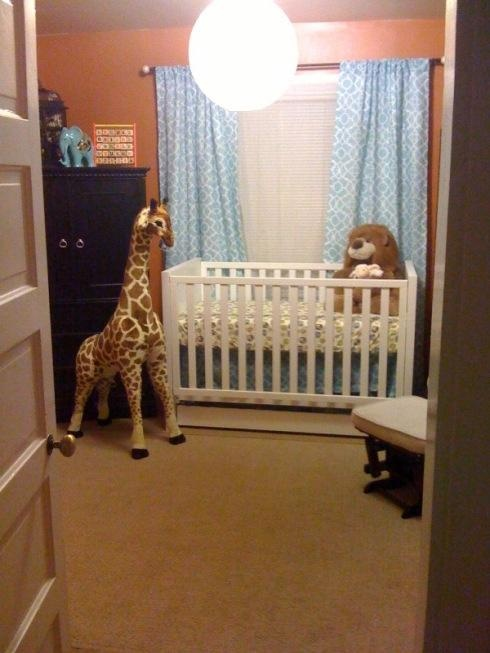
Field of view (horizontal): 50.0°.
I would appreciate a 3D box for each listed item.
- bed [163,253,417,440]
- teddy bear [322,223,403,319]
[{"bbox_3d":[0.295,0.097,3.071,1.342,1.055,0.862,2,11,20],"label":"bed"},{"bbox_3d":[0.692,-0.322,3.106,0.373,0.560,0.374,1,-7,7],"label":"teddy bear"}]
